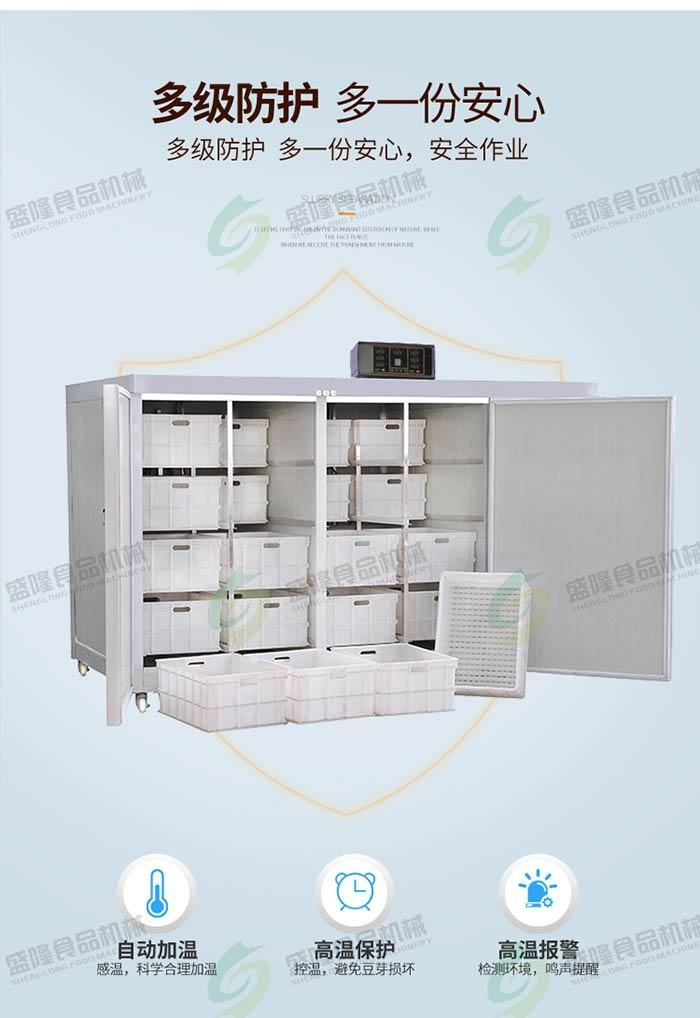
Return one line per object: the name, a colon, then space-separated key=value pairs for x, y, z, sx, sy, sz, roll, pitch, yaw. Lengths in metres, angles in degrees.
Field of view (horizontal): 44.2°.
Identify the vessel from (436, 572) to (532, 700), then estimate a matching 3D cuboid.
vessel: x=0.767 y=0.704 z=4.866 sx=0.501 sy=0.209 sz=0.698 roll=2 pitch=-89 yaw=15
